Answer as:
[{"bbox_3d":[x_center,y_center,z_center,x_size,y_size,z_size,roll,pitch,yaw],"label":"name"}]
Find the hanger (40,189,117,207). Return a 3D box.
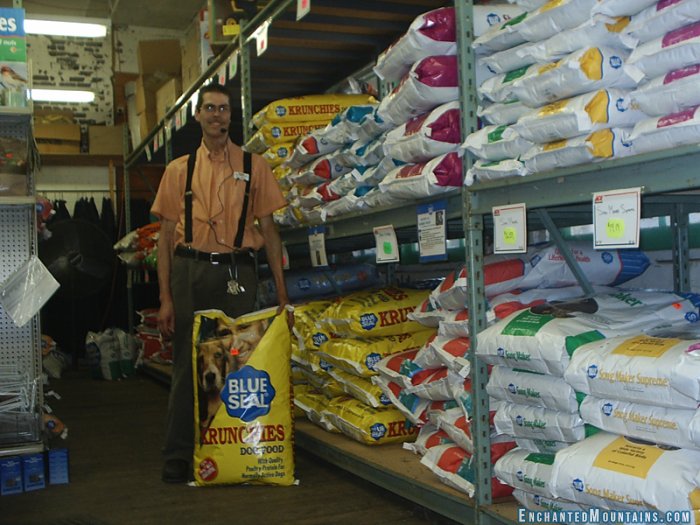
[{"bbox_3d":[-3.797,-0.916,7.964,0.873,0.239,0.247,-1,-1,-20],"label":"hanger"}]

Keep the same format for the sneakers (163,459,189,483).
[{"bbox_3d":[-0.794,0.956,2.674,0.125,0.088,0.121,-2,-1,-28],"label":"sneakers"}]

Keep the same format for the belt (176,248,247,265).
[{"bbox_3d":[-0.641,-0.037,2.742,0.341,0.071,0.068,-1,-1,-11],"label":"belt"}]
